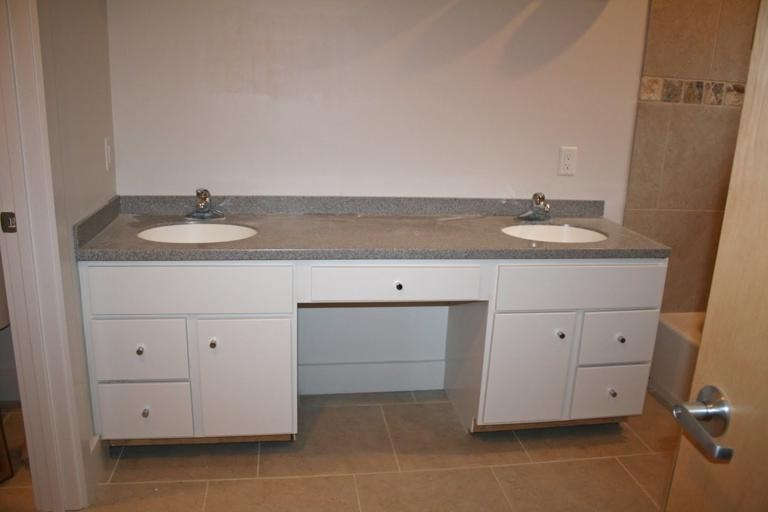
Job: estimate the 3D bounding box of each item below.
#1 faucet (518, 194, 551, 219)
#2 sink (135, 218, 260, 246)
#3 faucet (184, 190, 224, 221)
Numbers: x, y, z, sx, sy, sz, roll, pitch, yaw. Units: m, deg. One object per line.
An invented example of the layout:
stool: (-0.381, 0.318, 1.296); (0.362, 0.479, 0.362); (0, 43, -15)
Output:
faucet: (0.805, -0.282, 3.093); (0.181, 0.149, 0.112); (-10, 21, -17)
sink: (-0.888, -0.105, 2.746); (0.525, 0.104, 0.186); (-1, 16, -12)
faucet: (-0.903, -0.263, 2.844); (0.184, 0.146, 0.145); (-3, 17, -17)
